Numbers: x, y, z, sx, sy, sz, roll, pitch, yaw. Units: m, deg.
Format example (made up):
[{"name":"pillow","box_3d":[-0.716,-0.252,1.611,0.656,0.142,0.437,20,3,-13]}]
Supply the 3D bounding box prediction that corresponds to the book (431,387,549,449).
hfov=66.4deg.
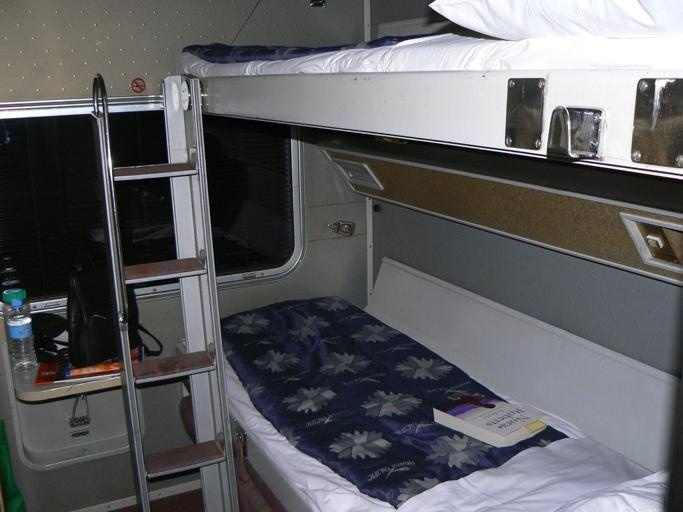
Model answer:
[{"name":"book","box_3d":[0.718,0.798,2.546,0.248,0.056,0.271,-9,15,-42]}]
